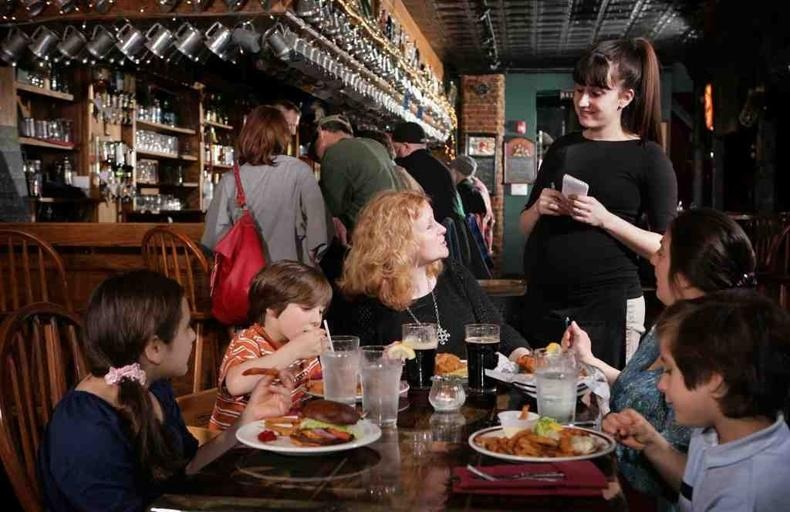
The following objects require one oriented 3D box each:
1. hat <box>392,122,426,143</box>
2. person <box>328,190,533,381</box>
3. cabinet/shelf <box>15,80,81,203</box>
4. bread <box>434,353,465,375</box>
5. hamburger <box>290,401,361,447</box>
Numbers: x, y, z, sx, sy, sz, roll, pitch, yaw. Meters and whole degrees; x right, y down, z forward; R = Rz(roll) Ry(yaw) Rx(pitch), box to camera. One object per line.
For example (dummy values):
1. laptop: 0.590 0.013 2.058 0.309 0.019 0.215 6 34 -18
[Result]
1. hat: 0.128 -1.075 5.249 0.255 0.132 0.182 -3 12 -41
2. person: 0.071 0.091 2.603 0.881 0.855 0.618 -8 0 34
3. cabinet/shelf: -3.487 -1.185 5.884 0.359 0.991 1.072 5 0 -41
4. bread: 0.199 0.397 2.224 0.096 0.034 0.109 1 5 5
5. hamburger: -0.198 0.476 1.744 0.213 0.102 0.232 5 -11 32
